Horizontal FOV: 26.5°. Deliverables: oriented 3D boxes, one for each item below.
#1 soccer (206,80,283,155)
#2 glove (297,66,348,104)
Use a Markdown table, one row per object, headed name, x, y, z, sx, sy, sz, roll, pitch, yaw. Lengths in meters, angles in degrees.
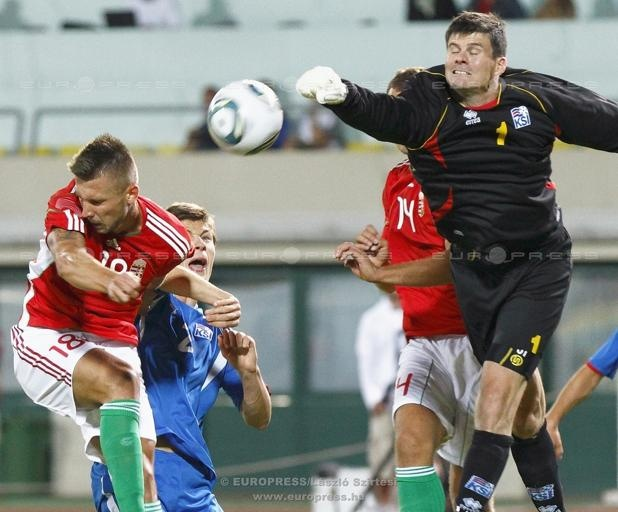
| name | x | y | z | sx | sy | sz | roll | pitch | yaw |
| --- | --- | --- | --- | --- | --- | --- | --- | --- | --- |
| soccer | -0.331 | -0.814 | 7.937 | 0.441 | 0.423 | 0.507 | -8 | -33 | -5 |
| glove | 0.081 | -0.967 | 7.375 | 0.257 | 0.191 | 0.119 | 2 | -5 | 2 |
